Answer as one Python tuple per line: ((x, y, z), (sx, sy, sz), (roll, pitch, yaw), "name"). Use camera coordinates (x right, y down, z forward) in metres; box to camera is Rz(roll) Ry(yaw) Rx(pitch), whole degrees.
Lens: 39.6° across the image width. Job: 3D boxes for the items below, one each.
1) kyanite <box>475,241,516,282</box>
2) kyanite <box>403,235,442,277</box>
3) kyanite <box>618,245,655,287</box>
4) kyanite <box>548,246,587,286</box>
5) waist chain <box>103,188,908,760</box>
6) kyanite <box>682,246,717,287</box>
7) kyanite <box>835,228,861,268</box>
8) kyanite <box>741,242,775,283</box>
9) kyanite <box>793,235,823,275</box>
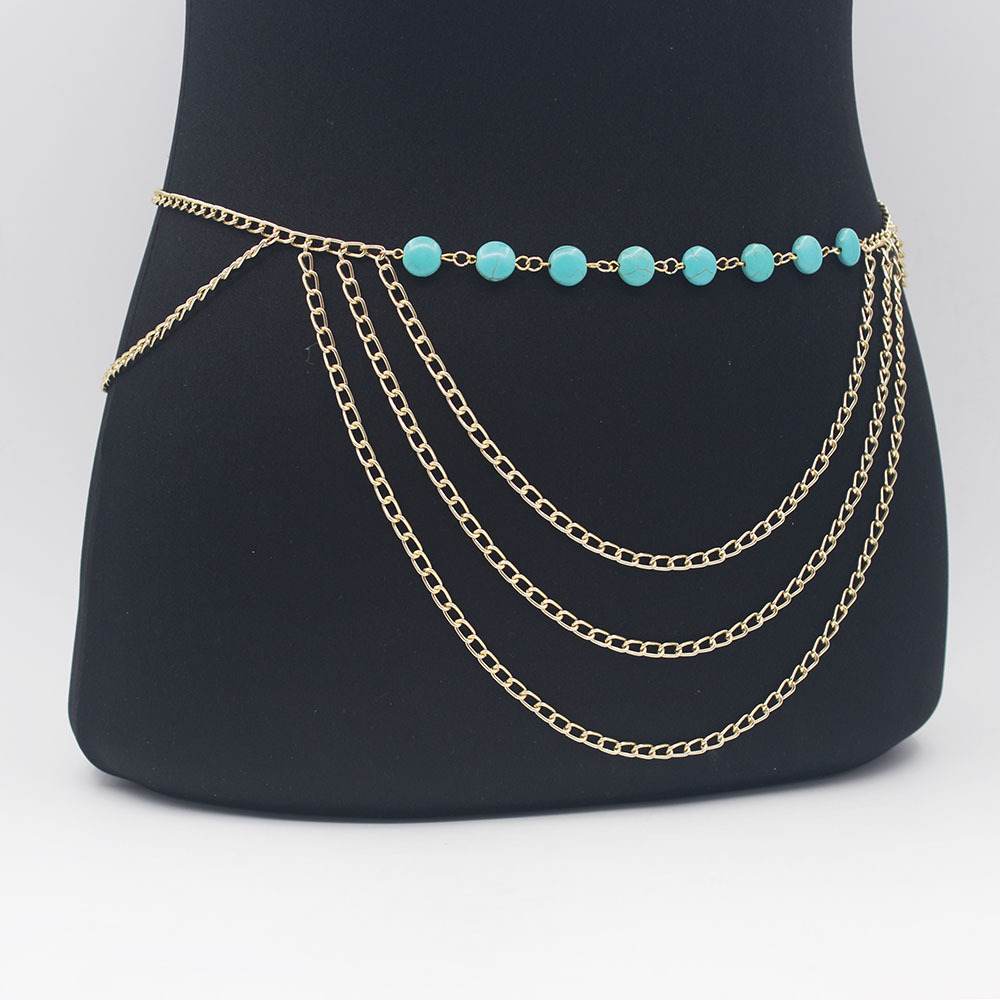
((-0.003, -0.159, 0.936), (0.026, 0.016, 0.022), (0, -56, -3), "kyanite")
((-0.054, -0.163, 0.939), (0.027, 0.015, 0.023), (2, -57, -4), "kyanite")
((0.092, -0.158, 0.949), (0.025, 0.013, 0.025), (-11, -57, 4), "kyanite")
((0.045, -0.156, 0.939), (0.026, 0.013, 0.024), (-2, -57, -2), "kyanite")
((0.042, -0.005, 1.008), (0.423, 0.442, 0.275), (-4, -76, -27), "waist chain")
((0.138, -0.160, 0.962), (0.025, 0.015, 0.026), (-10, -57, 3), "kyanite")
((0.253, -0.185, 1.026), (0.005, 0.024, 0.026), (2, -67, 38), "kyanite")
((0.180, -0.165, 0.971), (0.022, 0.005, 0.026), (-2, -82, -29), "kyanite")
((0.219, -0.174, 0.990), (0.023, 0.005, 0.027), (-9, -80, -41), "kyanite")
